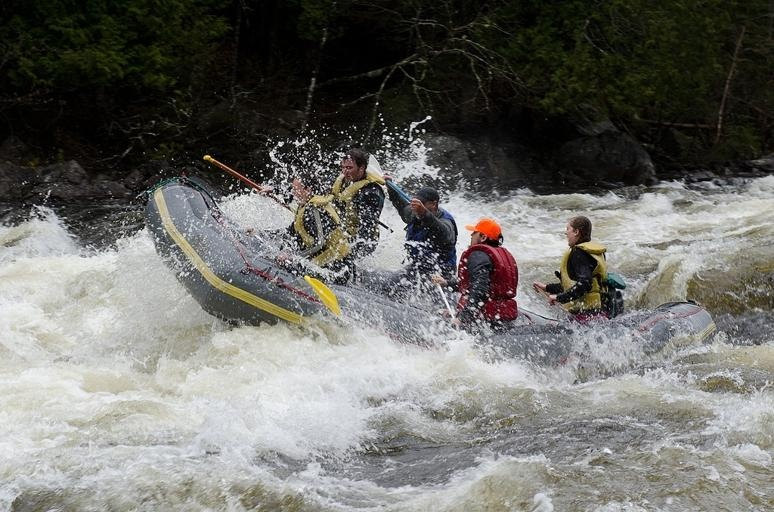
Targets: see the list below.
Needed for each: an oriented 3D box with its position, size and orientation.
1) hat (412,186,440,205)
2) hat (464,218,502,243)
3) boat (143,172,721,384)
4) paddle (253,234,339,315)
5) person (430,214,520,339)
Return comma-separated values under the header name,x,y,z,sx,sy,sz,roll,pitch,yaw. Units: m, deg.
name,x,y,z,sx,sy,sz,roll,pitch,yaw
hat,0.515,-0.767,11.837,0.316,0.146,0.212,22,17,-6
hat,1.155,-0.338,11.115,0.503,0.223,0.299,9,8,11
boat,0.034,0.637,11.200,5.288,0.941,2.956,15,-1,-5
paddle,-1.025,0.308,11.109,1.176,0.171,0.064,32,-13,24
person,1.153,0.287,10.934,0.624,1.248,1.012,8,30,32
